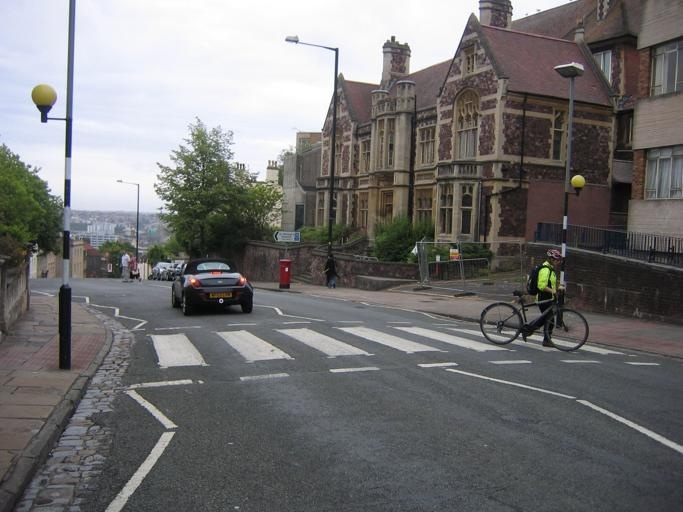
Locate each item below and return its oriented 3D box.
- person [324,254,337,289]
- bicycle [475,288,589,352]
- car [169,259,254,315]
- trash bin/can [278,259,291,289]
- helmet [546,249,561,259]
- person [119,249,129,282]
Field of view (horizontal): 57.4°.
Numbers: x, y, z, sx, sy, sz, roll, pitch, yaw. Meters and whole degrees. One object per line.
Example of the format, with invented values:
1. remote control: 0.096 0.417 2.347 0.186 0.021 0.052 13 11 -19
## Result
1. person: -0.488 0.715 30.406 0.587 1.630 0.730 -1 2 -2
2. bicycle: 4.316 1.371 14.044 2.269 1.620 1.139 4 16 17
3. car: -3.967 0.881 18.483 1.676 1.600 2.638 -2 2 -43
4. trash bin/can: -2.762 0.880 30.228 0.493 1.381 1.003 -1 2 -9
5. helmet: 5.082 -0.049 15.024 0.343 0.147 0.269 12 5 0
6. person: -13.331 0.717 38.669 0.459 1.665 1.536 -1 2 -18
